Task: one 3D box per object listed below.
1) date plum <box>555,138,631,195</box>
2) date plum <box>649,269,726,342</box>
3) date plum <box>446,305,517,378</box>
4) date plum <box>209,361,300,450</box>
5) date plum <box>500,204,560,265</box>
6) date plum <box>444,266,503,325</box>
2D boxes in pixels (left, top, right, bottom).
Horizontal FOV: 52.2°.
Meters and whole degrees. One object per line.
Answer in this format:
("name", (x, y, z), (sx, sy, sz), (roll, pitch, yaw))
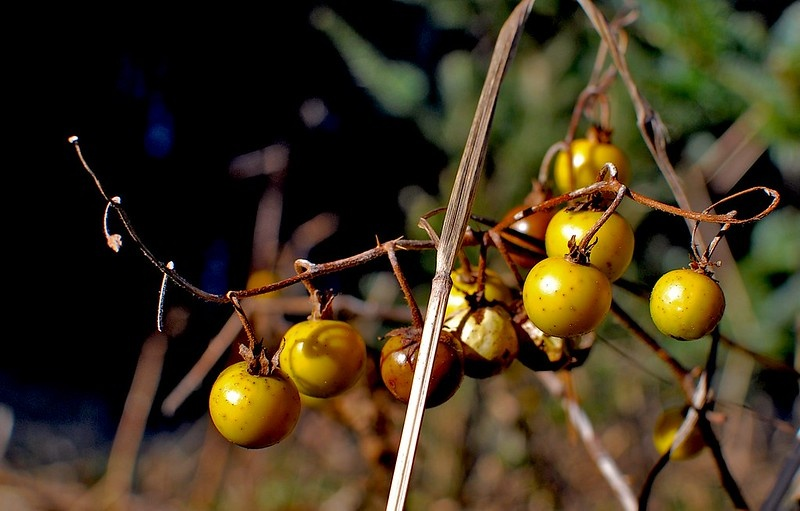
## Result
("date plum", (0.478, -0.225, 1.931), (0.145, 0.161, 0.153), (-7, 7, -27))
("date plum", (0.609, 0.112, 1.745), (0.133, 0.142, 0.144), (-23, 61, 25))
("date plum", (0.186, 0.181, 1.732), (0.141, 0.087, 0.142), (8, 76, 20))
("date plum", (-0.301, 0.314, 1.697), (0.162, 0.187, 0.168), (0, 8, -19))
("date plum", (0.288, -0.052, 1.879), (0.107, 0.118, 0.146), (1, 79, -2))
("date plum", (0.156, 0.071, 1.849), (0.108, 0.118, 0.114), (-17, 44, -20))
